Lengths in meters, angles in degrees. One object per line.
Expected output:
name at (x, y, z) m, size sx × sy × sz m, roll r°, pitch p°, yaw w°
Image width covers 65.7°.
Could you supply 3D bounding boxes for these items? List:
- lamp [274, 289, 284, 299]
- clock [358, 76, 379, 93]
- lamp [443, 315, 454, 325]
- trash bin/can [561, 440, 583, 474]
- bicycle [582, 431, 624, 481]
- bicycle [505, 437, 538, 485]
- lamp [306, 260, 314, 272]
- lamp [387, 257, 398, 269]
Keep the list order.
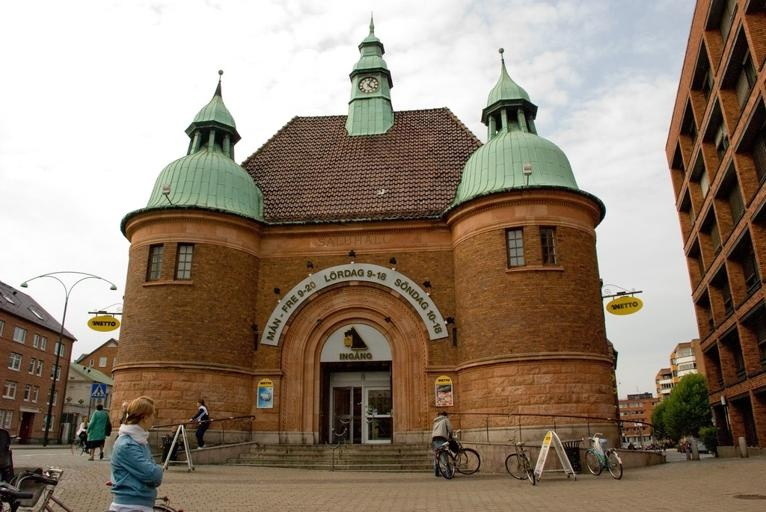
lamp at (-5.164, 1.832, 29.121) m, size 0.361 × 0.432 × 0.491 m, roll 1°, pitch -47°, yaw -1°
clock at (-0.925, -10.478, 36.550) m, size 1.519 × 1.471 × 0.100 m, roll -1°, pitch -34°, yaw 8°
lamp at (3.118, 3.018, 27.758) m, size 0.460 × 0.409 × 0.132 m, roll -4°, pitch -22°, yaw 5°
trash bin/can at (7.080, 7.408, 22.125) m, size 0.613 × 1.240 × 2.386 m, roll -8°, pitch -23°, yaw 14°
bicycle at (7.438, 6.836, 20.381) m, size 1.295 × 1.506 × 2.549 m, roll -8°, pitch -15°, yaw -1°
bicycle at (4.446, 6.730, 19.497) m, size 0.776 × 1.312 × 2.102 m, roll -5°, pitch -22°, yaw 7°
lamp at (-3.620, 0.495, 29.263) m, size 0.319 × 0.328 × 0.349 m, roll 43°, pitch -24°, yaw 8°
lamp at (0.511, 0.356, 28.787) m, size 0.408 × 0.616 × 0.188 m, roll -1°, pitch -22°, yaw -3°
